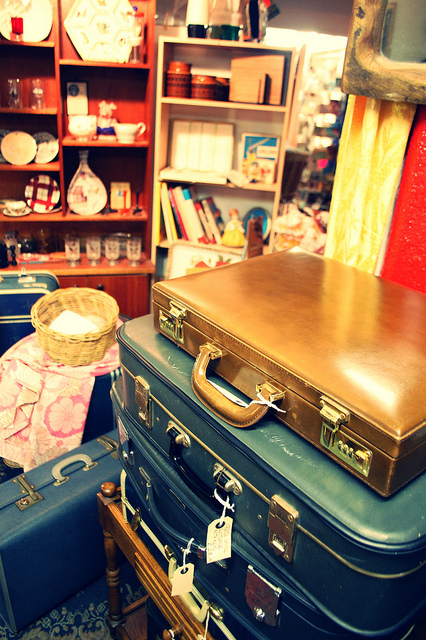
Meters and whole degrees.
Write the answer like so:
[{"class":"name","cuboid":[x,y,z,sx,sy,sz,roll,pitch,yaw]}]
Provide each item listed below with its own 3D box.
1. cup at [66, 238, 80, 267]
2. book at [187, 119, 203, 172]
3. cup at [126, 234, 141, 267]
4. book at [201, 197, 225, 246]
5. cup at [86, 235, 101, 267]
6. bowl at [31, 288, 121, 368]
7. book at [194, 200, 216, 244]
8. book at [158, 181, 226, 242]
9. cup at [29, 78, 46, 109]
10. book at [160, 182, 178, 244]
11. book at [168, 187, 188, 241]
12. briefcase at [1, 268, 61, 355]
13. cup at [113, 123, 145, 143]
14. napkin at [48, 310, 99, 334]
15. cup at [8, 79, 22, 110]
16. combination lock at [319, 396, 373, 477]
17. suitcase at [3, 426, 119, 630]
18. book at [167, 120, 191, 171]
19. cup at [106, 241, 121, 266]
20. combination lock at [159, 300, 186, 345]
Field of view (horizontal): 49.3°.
[{"class":"cup","cuboid":[-0.840,-0.405,2.782,0.082,0.169,0.068,-17,28,-38]},{"class":"book","cuboid":[-0.107,-1.006,2.718,0.052,0.240,0.230,4,4,-5]},{"class":"cup","cuboid":[-0.485,-0.419,2.854,0.084,0.173,0.119,-2,22,-9]},{"class":"book","cuboid":[0.013,-0.598,2.875,0.054,0.243,0.245,-14,49,9]},{"class":"cup","cuboid":[-0.732,-0.422,2.840,0.077,0.172,0.108,-4,22,-12]},{"class":"bowl","cuboid":[-0.595,-0.024,2.006,0.349,0.171,0.312,-10,-17,-4]},{"class":"book","cuboid":[-0.045,-0.575,2.791,0.046,0.207,0.205,-17,42,2]},{"class":"book","cuboid":[-0.120,-0.657,2.817,0.433,0.365,0.279,-2,22,-9]},{"class":"cup","cuboid":[-0.977,-1.249,2.575,0.101,0.159,0.168,-5,23,-16]},{"class":"book","cuboid":[-0.262,-0.619,2.698,0.052,0.242,0.222,-7,14,-5]},{"class":"book","cuboid":[-0.207,-0.605,2.710,0.043,0.203,0.192,-13,19,-6]},{"class":"briefcase","cuboid":[-0.808,-0.023,2.029,0.311,0.340,0.183,-1,30,-12]},{"class":"cup","cuboid":[-0.473,-1.027,2.622,0.162,0.116,0.133,2,32,-2]},{"class":"napkin","cuboid":[-0.556,0.020,1.816,0.105,0.033,0.108,21,27,27]},{"class":"cup","cuboid":[-1.057,-1.192,2.477,0.071,0.141,0.111,-8,24,-21]},{"class":"combination lock","cuboid":[0.137,0.126,0.493,0.019,0.070,0.076,-10,25,-27]},{"class":"suitcase","cuboid":[-0.460,0.663,1.445,0.433,0.443,0.206,-18,29,-39]},{"class":"book","cuboid":[-0.207,-1.028,2.744,0.150,0.268,0.075,18,27,36]},{"class":"cup","cuboid":[-0.623,-0.423,2.876,0.080,0.150,0.142,-4,23,-13]},{"class":"combination lock","cuboid":[-0.065,0.002,0.767,0.036,0.044,0.054,-32,45,-32]}]
